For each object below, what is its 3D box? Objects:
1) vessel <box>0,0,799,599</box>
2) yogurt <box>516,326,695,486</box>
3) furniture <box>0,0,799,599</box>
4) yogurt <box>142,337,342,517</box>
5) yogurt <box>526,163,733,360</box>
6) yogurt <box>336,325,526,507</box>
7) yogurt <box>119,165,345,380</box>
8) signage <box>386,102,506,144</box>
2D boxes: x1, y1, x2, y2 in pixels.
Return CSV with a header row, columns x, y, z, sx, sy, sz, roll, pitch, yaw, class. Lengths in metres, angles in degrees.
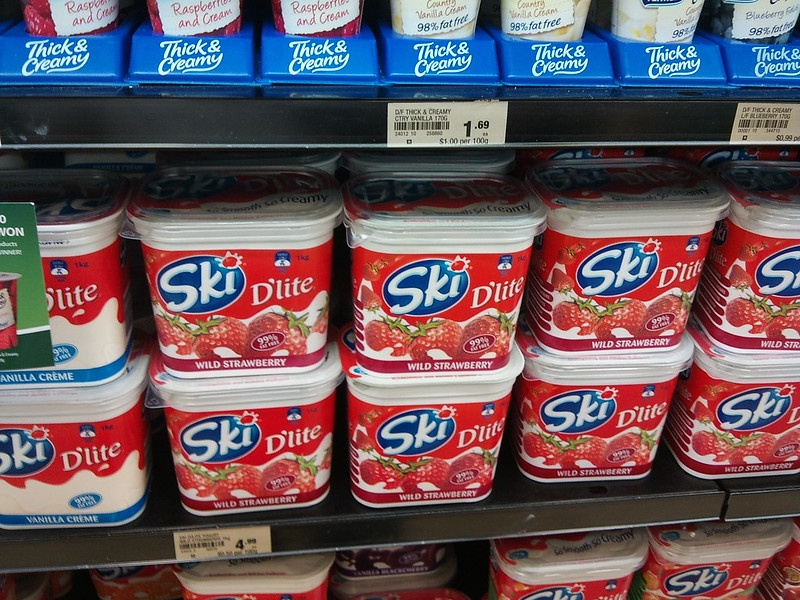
x,y,z,sx,sy,sz,roll,pitch,yaw,class
-0.004,-0.030,1.620,1.509,0.874,0.847,-1,43,-2,vessel
0.458,0.272,1.898,0.462,0.310,0.375,-2,32,-1,yogurt
-0.003,-0.030,1.620,1.509,0.874,0.847,-1,43,-2,furniture
-0.364,0.295,1.847,0.486,0.325,0.393,-2,32,-9,yogurt
0.464,-0.111,1.856,0.598,0.491,0.414,-2,33,-3,yogurt
0.056,0.301,1.925,0.470,0.360,0.429,0,18,-4,yogurt
-0.371,-0.042,1.685,0.523,0.373,0.320,-4,19,-20,yogurt
0.095,-0.350,1.413,0.247,0.108,0.019,-7,27,0,signage
